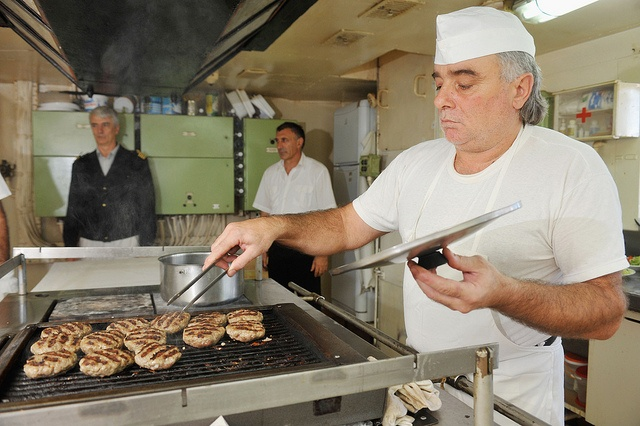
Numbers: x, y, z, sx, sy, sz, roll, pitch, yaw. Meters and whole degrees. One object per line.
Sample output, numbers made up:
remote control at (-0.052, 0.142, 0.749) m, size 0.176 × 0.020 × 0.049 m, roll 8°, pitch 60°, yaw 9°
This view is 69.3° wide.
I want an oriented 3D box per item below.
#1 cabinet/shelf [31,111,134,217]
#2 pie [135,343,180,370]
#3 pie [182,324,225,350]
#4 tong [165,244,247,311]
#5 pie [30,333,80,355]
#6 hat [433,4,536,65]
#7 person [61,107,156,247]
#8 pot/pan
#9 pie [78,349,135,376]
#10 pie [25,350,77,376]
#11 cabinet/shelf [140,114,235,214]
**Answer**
cabinet/shelf at (-2.365, -0.475, 4.564) m, size 1.149 × 1.022 × 0.373 m, roll 0°, pitch -2°, yaw -9°
pie at (-0.600, 0.530, 1.700) m, size 0.104 × 0.031 × 0.095 m, roll 5°, pitch 6°, yaw -13°
pie at (-0.480, 0.489, 1.852) m, size 0.102 × 0.030 × 0.099 m, roll 8°, pitch 11°, yaw 25°
tong at (-0.535, 0.315, 2.158) m, size 0.089 × 0.459 × 0.039 m, roll 50°, pitch -2°, yaw 30°
pie at (-1.034, 0.514, 1.805) m, size 0.101 × 0.025 × 0.096 m, roll 4°, pitch -1°, yaw -1°
hat at (0.644, -0.692, 1.868) m, size 0.346 × 0.178 × 0.247 m, roll 2°, pitch 11°, yaw -4°
person at (-2.078, -0.356, 4.527) m, size 0.822 × 1.359 × 0.398 m, roll -3°, pitch 5°, yaw -27°
pot/pan at (-0.613, 0.340, 2.336) m, size 0.335 × 0.189 × 0.325 m, roll 0°, pitch -1°, yaw -7°
pie at (-0.768, 0.538, 1.673) m, size 0.127 × 0.035 × 0.094 m, roll 2°, pitch 12°, yaw -16°
pie at (-0.966, 0.535, 1.657) m, size 0.102 × 0.030 × 0.082 m, roll -3°, pitch 13°, yaw -25°
cabinet/shelf at (-1.499, -0.554, 5.053) m, size 1.127 × 1.029 × 0.585 m, roll -2°, pitch 8°, yaw -17°
